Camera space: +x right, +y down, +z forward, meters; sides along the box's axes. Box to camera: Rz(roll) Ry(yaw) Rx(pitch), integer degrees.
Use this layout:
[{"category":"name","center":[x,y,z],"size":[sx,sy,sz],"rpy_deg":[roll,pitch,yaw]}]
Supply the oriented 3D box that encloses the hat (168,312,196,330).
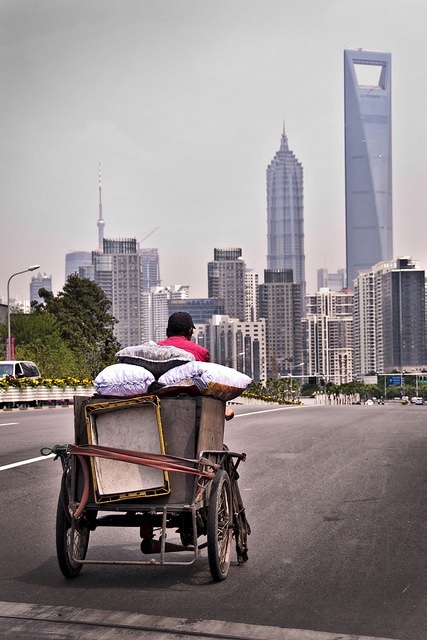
[{"category":"hat","center":[-0.230,0.006,8.214],"size":[0.117,0.104,0.176],"rpy_deg":[1,2,9]}]

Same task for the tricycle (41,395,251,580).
[{"category":"tricycle","center":[-0.331,1.121,7.709],"size":[1.252,1.188,1.662],"rpy_deg":[-6,-7,32]}]
